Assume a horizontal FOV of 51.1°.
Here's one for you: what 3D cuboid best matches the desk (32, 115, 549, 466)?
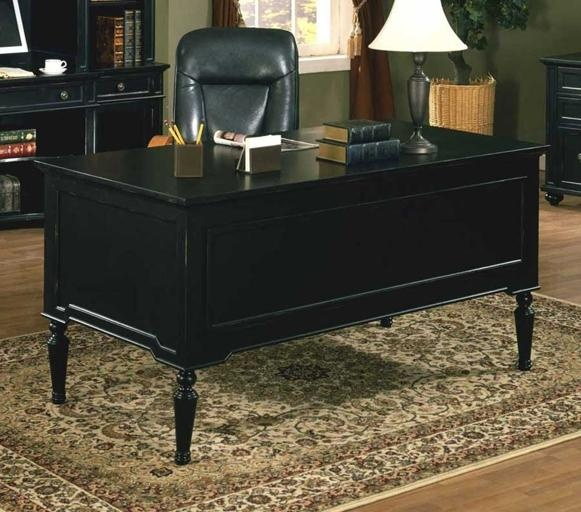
[{"bbox_3d":[-0.053,0.048,2.334,1.903,0.652,1.010,-9,9,-38],"label":"desk"}]

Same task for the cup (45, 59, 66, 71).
[{"bbox_3d":[-1.660,-1.350,4.362,0.183,0.072,0.122,-3,9,-28],"label":"cup"}]
